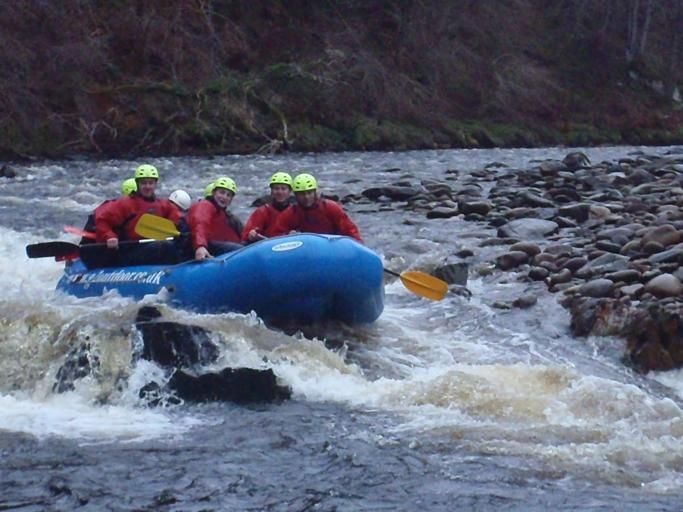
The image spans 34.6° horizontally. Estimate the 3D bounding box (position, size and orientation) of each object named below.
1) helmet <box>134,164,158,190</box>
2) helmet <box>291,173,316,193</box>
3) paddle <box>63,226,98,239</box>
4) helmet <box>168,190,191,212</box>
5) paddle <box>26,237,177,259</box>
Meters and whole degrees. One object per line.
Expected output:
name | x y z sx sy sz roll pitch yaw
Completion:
helmet | -4.059 -1.668 22.996 0.473 0.480 0.548 0 7 -14
helmet | -0.785 -1.511 22.840 0.522 0.348 0.348 3 13 7
paddle | -5.819 -0.515 24.493 0.609 0.113 0.344 13 -7 -5
helmet | -3.426 -1.215 23.700 0.412 0.420 0.506 29 14 -20
paddle | -4.838 -0.155 22.645 2.906 0.239 0.364 -2 54 -1
